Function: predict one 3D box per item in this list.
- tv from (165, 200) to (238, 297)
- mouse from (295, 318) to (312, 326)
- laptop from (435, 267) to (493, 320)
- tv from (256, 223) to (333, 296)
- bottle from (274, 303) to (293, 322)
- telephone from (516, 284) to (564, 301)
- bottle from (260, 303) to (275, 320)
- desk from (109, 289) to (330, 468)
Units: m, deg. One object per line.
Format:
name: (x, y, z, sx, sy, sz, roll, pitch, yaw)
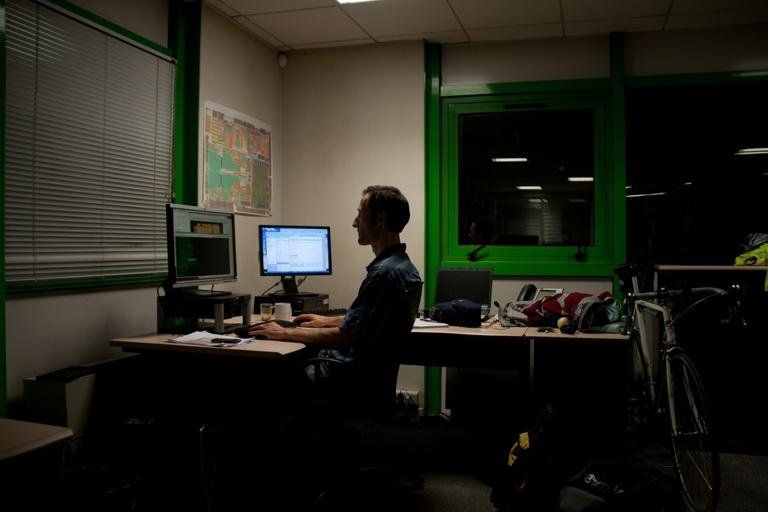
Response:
tv: (-1.255, -0.048, 3.827, 0.103, 0.599, 0.757, -1, -1, 28)
mouse: (-0.577, 0.464, 4.025, 0.123, 0.056, 0.068, -1, 23, 11)
laptop: (0.695, 0.318, 4.772, 0.513, 0.419, 0.383, 0, -6, 16)
tv: (-0.774, 0.013, 4.813, 0.646, 0.525, 0.226, 4, -14, -28)
bottle: (-0.725, 0.400, 4.123, 0.121, 0.109, 0.118, 3, -7, -41)
telephone: (1.260, 0.297, 4.528, 0.281, 0.123, 0.199, -3, 2, 20)
bottle: (-0.861, 0.418, 4.248, 0.088, 0.120, 0.129, 0, -2, 6)
desk: (-1.001, 0.679, 3.732, 0.999, 0.723, 1.115, 0, 0, 13)
